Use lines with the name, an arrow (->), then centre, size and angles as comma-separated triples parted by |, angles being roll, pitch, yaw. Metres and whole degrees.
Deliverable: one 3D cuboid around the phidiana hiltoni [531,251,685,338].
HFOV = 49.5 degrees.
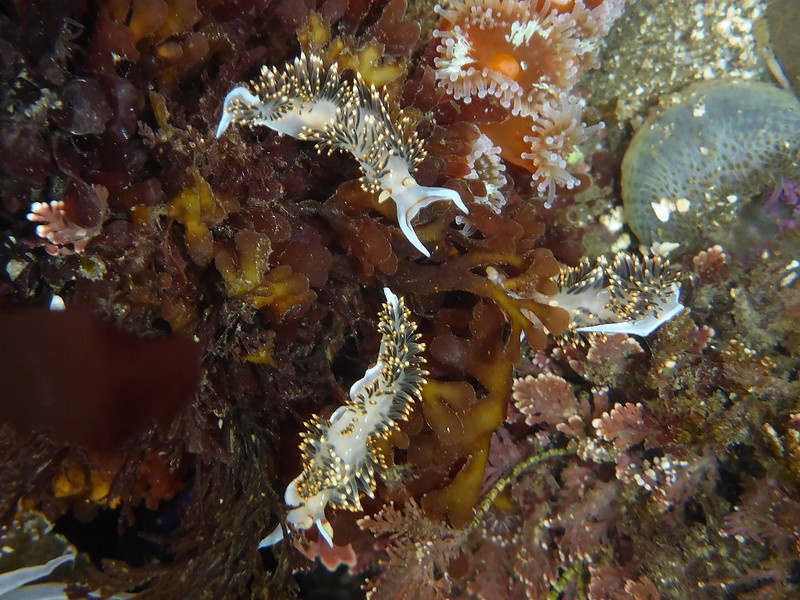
phidiana hiltoni -> 0.957, -0.028, 3.910 | 0.557, 0.428, 0.268 | 3, 7, 12
